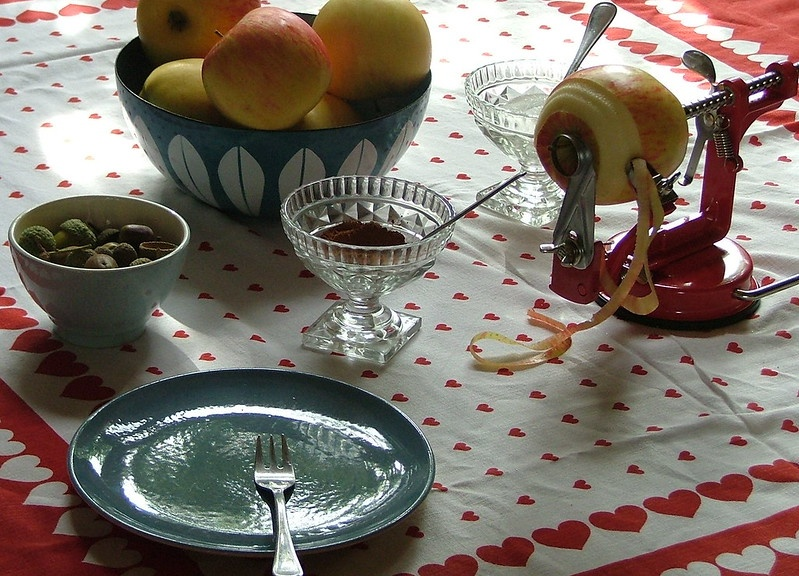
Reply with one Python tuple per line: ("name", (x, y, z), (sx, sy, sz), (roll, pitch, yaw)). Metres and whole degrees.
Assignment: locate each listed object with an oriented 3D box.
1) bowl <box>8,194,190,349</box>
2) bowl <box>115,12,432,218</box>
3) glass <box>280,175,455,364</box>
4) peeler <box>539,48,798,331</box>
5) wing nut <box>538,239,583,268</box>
("bowl", (-0.294, -0.024, 0.739), (0.158, 0.100, 0.147), (6, 47, -7))
("bowl", (-0.139, -0.178, 0.861), (0.317, 0.103, 0.270), (13, 30, 19))
("glass", (-0.039, -0.001, 0.780), (0.183, 0.111, 0.164), (-10, 15, -33))
("peeler", (0.336, -0.123, 0.852), (0.433, 0.212, 0.210), (-19, 36, -22))
("wing nut", (0.154, -0.034, 0.742), (0.038, 0.021, 0.030), (4, 9, -28))
